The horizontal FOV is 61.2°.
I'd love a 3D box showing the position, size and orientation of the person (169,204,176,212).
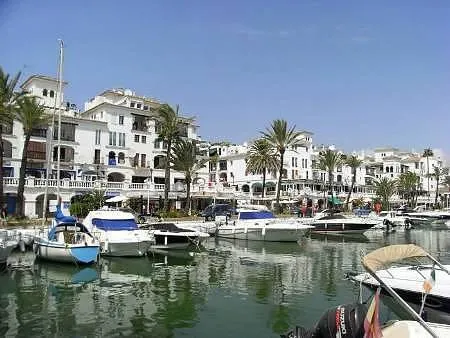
[{"bbox_3d":[-7.122,5.306,52.143,0.827,0.927,0.802,-3,-2,3],"label":"person"}]
